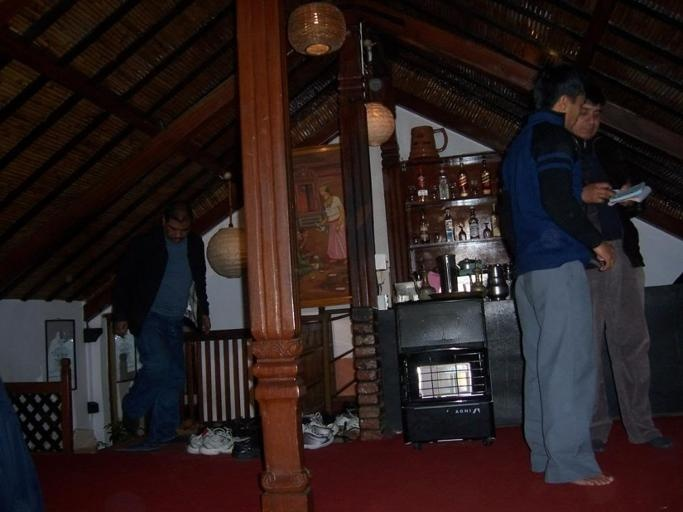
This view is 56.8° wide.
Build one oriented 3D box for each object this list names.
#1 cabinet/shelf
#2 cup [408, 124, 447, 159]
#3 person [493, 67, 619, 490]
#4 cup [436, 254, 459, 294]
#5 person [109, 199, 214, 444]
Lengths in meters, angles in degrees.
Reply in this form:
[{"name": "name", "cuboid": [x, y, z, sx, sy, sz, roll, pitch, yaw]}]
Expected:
[{"name": "cabinet/shelf", "cuboid": [1.581, -0.454, 7.752, 0.451, 1.490, 1.563, -8, 5, -39]}, {"name": "cup", "cuboid": [0.999, -1.356, 7.750, 0.524, 0.463, 0.365, 0, -6, -3]}, {"name": "person", "cuboid": [1.208, 0.076, 3.514, 0.530, 2.288, 0.499, -4, 2, 14]}, {"name": "cup", "cuboid": [0.888, 0.143, 5.228, 0.156, 0.302, 0.330, -4, 3, 9]}, {"name": "person", "cuboid": [-1.368, 0.526, 4.878, 0.723, 1.618, 0.415, -5, 3, -22]}]
